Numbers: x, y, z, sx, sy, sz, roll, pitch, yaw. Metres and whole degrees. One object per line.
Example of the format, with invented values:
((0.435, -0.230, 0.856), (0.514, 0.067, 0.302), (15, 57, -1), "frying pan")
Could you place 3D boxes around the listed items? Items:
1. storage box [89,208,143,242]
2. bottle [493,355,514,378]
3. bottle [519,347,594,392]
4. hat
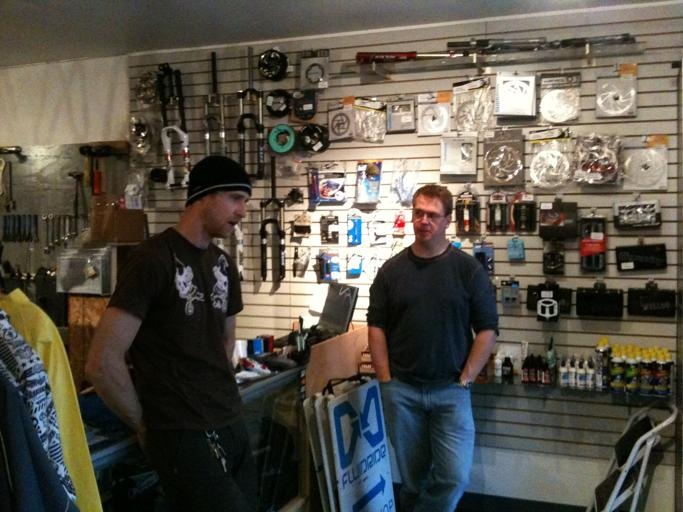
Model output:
((-2.278, -0.386, 6.193), (0.555, 0.387, 0.562), (-3, 21, -24), "storage box")
((1.399, 0.969, 5.201), (0.165, 0.220, 0.082), (1, -4, -18), "bottle")
((1.846, 0.969, 5.121), (0.587, 0.229, 0.375), (1, 4, 17), "bottle")
((-0.642, -0.398, 3.246), (0.280, 0.231, 0.282), (13, -1, 1), "hat")
